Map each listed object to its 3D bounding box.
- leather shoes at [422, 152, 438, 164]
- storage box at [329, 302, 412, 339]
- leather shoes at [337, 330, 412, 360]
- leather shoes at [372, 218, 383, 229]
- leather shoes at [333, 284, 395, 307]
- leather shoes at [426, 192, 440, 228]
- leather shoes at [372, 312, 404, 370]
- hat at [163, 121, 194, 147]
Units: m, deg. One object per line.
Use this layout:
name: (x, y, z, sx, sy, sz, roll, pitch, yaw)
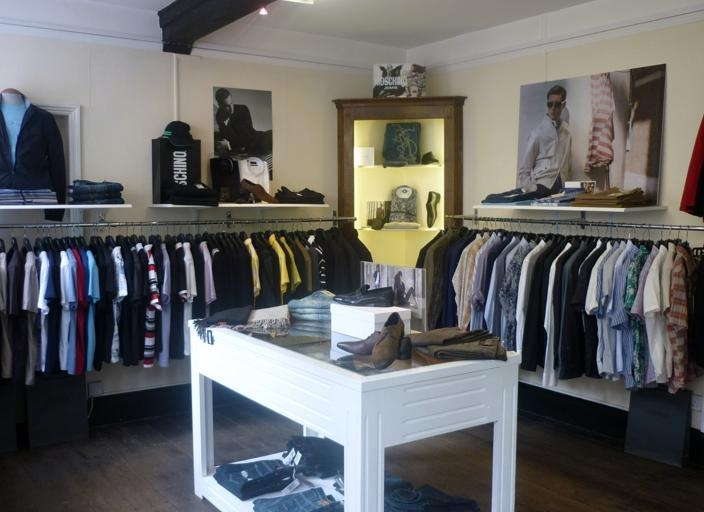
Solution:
leather shoes: (0.822, -1.033, 5.980, 0.091, 0.081, 0.169, -7, 9, -26)
storage box: (0.099, 0.344, 3.210, 0.181, 0.137, 0.335, 0, 2, -38)
leather shoes: (0.115, 0.459, 3.030, 0.386, 0.149, 0.140, 1, -1, 14)
leather shoes: (0.271, -0.349, 6.027, 0.097, 0.137, 0.113, -3, -4, 29)
leather shoes: (0.072, 0.216, 3.367, 0.341, 0.134, 0.130, 1, -2, 16)
leather shoes: (0.851, -0.515, 6.093, 0.119, 0.392, 0.161, 5, 11, 20)
leather shoes: (0.182, 0.422, 2.928, 0.115, 0.106, 0.380, -3, 27, 22)
hat: (-1.552, -1.104, 5.140, 0.252, 0.151, 0.195, 23, 23, 35)
